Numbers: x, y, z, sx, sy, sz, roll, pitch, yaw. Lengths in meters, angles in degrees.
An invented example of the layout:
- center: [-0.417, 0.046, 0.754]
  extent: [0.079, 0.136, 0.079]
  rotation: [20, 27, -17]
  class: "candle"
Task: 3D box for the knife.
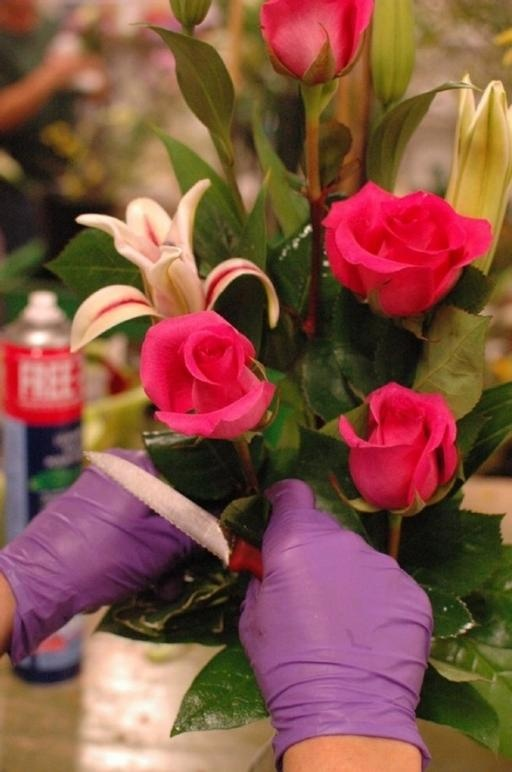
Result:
- center: [-0.046, 0.077, 0.441]
  extent: [0.022, 0.140, 0.013]
  rotation: [-56, 14, 7]
  class: "knife"
